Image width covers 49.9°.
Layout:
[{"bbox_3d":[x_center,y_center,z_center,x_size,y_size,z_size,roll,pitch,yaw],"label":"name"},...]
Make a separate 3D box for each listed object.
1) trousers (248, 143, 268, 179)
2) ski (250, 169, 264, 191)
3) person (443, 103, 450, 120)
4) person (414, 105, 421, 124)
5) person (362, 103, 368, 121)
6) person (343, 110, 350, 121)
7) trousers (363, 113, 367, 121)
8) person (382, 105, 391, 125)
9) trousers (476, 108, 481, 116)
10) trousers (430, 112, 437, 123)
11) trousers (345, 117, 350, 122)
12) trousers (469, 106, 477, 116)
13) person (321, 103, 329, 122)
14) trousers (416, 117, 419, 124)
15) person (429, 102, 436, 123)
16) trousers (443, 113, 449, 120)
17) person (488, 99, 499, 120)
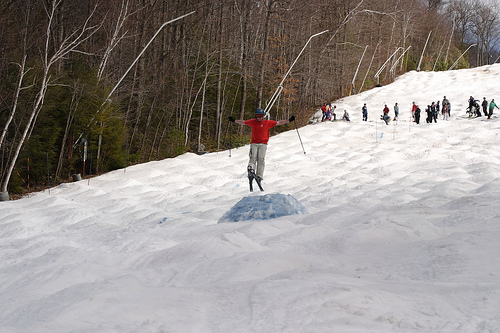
[{"bbox_3d":[0.251,-0.195,18.544,0.620,1.228,0.648,-2,2,1],"label":"trousers"},{"bbox_3d":[0.218,0.478,18.647,0.133,0.867,0.223,-26,35,3],"label":"ski"},{"bbox_3d":[12.429,-3.478,34.034,0.455,1.034,0.631,-6,-1,15],"label":"person"},{"bbox_3d":[10.643,-3.313,34.281,0.332,1.174,1.754,-1,2,17],"label":"person"},{"bbox_3d":[7.598,-3.574,35.498,0.337,1.108,1.142,-1,2,12],"label":"person"},{"bbox_3d":[6.347,-3.359,35.352,0.413,0.694,0.961,-1,2,10],"label":"person"},{"bbox_3d":[7.544,-3.253,35.251,0.224,0.489,0.603,-1,2,14],"label":"trousers"},{"bbox_3d":[8.588,-3.269,33.936,0.452,1.245,1.035,-1,2,14],"label":"person"},{"bbox_3d":[14.289,-3.432,33.662,0.269,0.502,0.321,0,3,40],"label":"trousers"},{"bbox_3d":[11.256,-3.013,33.014,0.370,0.635,0.464,0,3,37],"label":"trousers"},{"bbox_3d":[6.382,-3.084,35.173,0.278,0.305,0.533,-1,2,11],"label":"trousers"},{"bbox_3d":[14.138,-3.512,33.827,0.158,0.499,0.517,13,-11,28],"label":"trousers"},{"bbox_3d":[4.958,-3.589,35.431,0.387,1.265,0.876,-1,2,8],"label":"person"},{"bbox_3d":[10.540,-2.908,33.841,0.170,0.407,0.292,-1,2,10],"label":"trousers"},{"bbox_3d":[11.291,-3.340,33.279,0.370,1.138,0.998,-1,2,19],"label":"person"},{"bbox_3d":[12.464,-3.150,34.018,0.383,0.436,0.374,1,13,-5],"label":"trousers"},{"bbox_3d":[15.052,-3.572,33.255,0.540,1.283,3.443,-1,3,25],"label":"person"}]
